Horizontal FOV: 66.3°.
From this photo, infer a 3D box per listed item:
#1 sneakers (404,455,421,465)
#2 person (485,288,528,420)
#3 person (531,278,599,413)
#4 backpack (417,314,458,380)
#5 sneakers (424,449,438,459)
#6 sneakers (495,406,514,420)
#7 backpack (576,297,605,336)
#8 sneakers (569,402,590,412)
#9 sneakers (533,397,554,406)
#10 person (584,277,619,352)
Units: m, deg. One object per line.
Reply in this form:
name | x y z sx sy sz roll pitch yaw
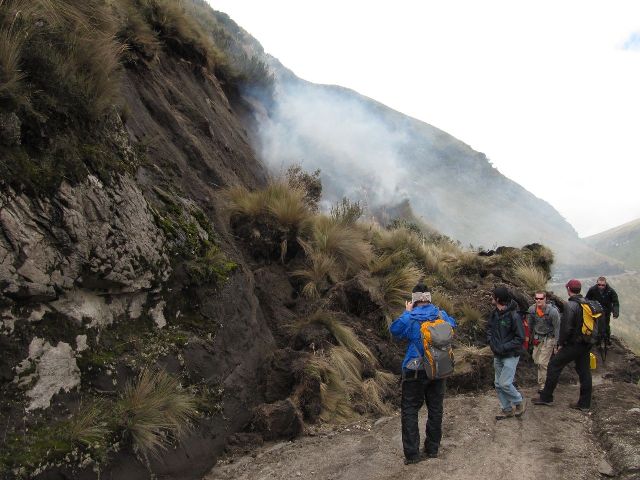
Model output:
sneakers | 1.205 2.858 6.379 0.211 0.098 0.149 -3 0 8
person | 2.903 1.748 7.627 0.526 1.491 0.330 -2 1 19
person | 4.056 1.666 7.984 0.854 2.095 0.837 4 -9 23
backpack | 1.563 1.448 6.505 0.442 0.631 0.284 -2 1 -1
sneakers | 1.468 2.840 6.495 0.191 0.088 0.176 -3 0 7
sneakers | 2.887 2.720 7.700 0.287 0.144 0.127 -2 2 -1
backpack | 4.254 1.197 7.715 0.374 0.645 0.462 -1 -2 33
sneakers | 4.188 2.659 7.891 0.259 0.148 0.112 13 1 33
sneakers | 3.668 2.650 8.048 0.287 0.166 0.127 8 6 17
person | 6.170 1.613 10.743 0.643 1.628 0.703 -7 16 17
